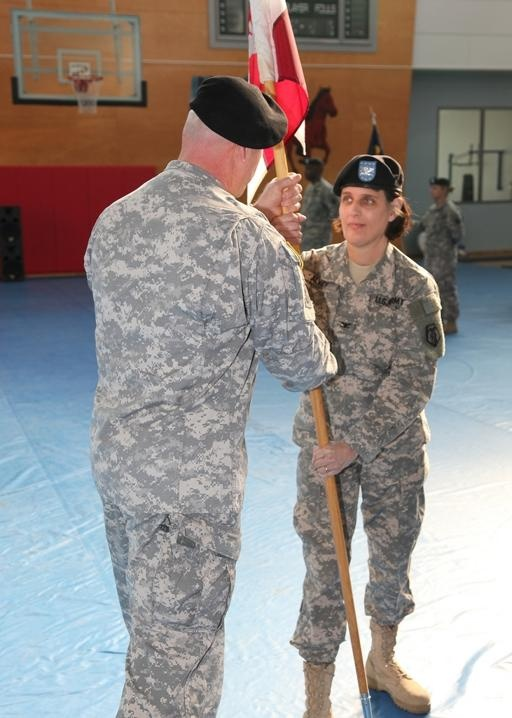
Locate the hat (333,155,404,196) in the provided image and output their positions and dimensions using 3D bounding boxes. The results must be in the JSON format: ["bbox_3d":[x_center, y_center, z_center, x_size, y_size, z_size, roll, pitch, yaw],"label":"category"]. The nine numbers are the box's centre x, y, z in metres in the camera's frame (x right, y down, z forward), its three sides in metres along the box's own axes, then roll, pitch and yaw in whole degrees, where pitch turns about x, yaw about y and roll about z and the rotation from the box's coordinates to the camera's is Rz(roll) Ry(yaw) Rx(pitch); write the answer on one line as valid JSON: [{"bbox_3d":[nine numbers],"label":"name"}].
[{"bbox_3d":[0.357,-0.565,2.324,0.189,0.065,0.137,-14,17,-35],"label":"hat"}]
